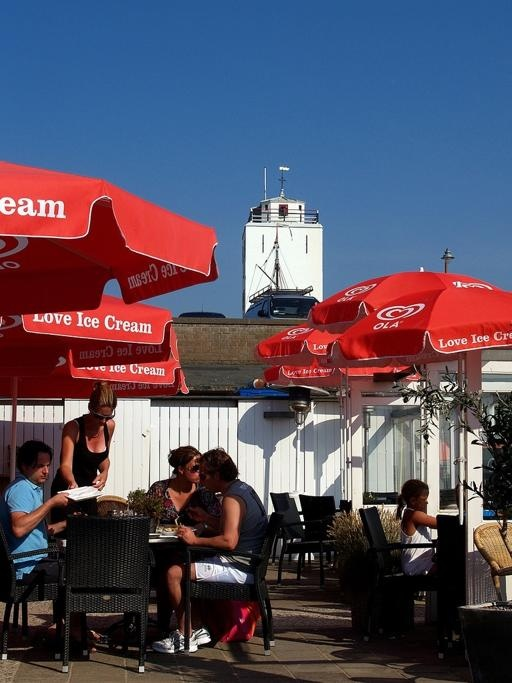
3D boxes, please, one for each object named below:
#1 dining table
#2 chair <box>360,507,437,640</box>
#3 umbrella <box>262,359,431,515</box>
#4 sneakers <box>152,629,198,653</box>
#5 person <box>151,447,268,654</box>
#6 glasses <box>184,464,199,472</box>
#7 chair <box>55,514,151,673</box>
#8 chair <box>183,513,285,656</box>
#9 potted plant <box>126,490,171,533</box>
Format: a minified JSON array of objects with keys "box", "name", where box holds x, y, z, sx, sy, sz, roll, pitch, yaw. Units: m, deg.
[{"box":[-0.651,1.712,7.364,0.737,0.786,0.694,0,0,-1],"name":"dining table"},{"box":[0.998,1.744,7.965,0.808,1.116,0.808,-2,-5,6],"name":"chair"},{"box":[1.212,1.408,14.215,1.956,2.063,2.038,-2,1,3],"name":"umbrella"},{"box":[-0.523,1.983,6.851,0.295,0.137,0.120,3,-14,-2],"name":"sneakers"},{"box":[-0.284,1.401,7.019,0.716,1.327,0.783,0,-7,-1],"name":"person"},{"box":[-0.455,0.899,7.447,0.090,0.047,0.072,-2,-1,-3],"name":"glasses"},{"box":[-0.925,1.489,6.540,0.578,0.983,0.627,2,6,-14],"name":"chair"},{"box":[-0.140,1.666,7.121,0.891,1.219,0.776,2,-10,2],"name":"chair"},{"box":[-0.789,1.195,7.385,0.304,0.338,0.255,0,-6,4],"name":"potted plant"}]
